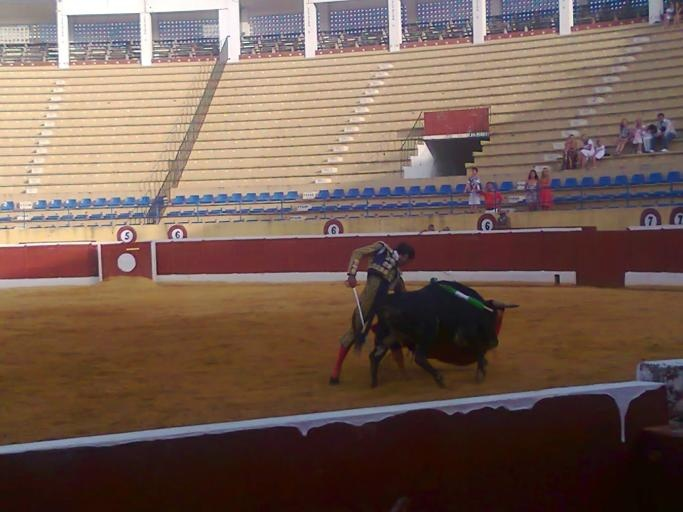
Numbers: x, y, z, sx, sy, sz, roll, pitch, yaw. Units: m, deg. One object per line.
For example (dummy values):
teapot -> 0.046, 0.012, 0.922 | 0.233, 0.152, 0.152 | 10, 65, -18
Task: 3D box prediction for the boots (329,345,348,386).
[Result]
boots -> -0.076, 2.142, 22.282 | 0.410, 0.800, 0.596 | -2, 6, 0
